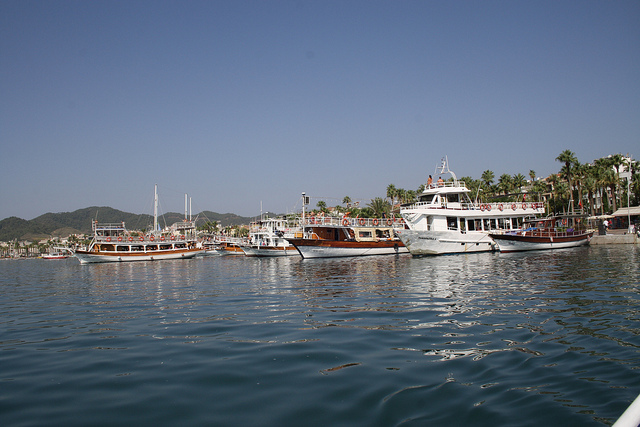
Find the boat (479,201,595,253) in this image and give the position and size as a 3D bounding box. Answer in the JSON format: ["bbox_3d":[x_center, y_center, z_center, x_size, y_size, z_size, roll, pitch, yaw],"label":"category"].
[{"bbox_3d":[23.013,1.576,45.227,18.682,4.954,5.331,5,-10,-29],"label":"boat"}]

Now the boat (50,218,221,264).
[{"bbox_3d":[-25.964,3.866,62.866,16.412,5.898,11.025,-2,-2,-27],"label":"boat"}]

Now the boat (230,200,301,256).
[{"bbox_3d":[-7.118,2.979,61.829,4.969,6.350,14.136,-6,-6,25],"label":"boat"}]

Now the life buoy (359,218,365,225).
[{"bbox_3d":[4.444,0.917,47.415,0.704,0.568,0.144,1,-5,-12],"label":"life buoy"}]

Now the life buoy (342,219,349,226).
[{"bbox_3d":[2.488,0.919,44.776,0.605,0.653,0.267,1,1,-12],"label":"life buoy"}]

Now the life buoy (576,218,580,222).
[{"bbox_3d":[42.564,1.146,73.133,0.253,0.916,1.018,10,-18,37],"label":"life buoy"}]

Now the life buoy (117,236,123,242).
[{"bbox_3d":[-26.211,3.393,57.779,0.668,0.547,0.157,2,-3,-27],"label":"life buoy"}]

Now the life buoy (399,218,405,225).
[{"bbox_3d":[8.935,0.931,48.500,0.748,0.737,0.282,5,-12,4],"label":"life buoy"}]

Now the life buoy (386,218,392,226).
[{"bbox_3d":[7.609,1.006,48.978,0.834,0.673,0.172,0,-1,2],"label":"life buoy"}]

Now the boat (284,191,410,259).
[{"bbox_3d":[4.233,1.749,47.847,17.764,5.720,3.699,2,-6,-35],"label":"boat"}]

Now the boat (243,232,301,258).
[{"bbox_3d":[-5.987,4.469,57.874,5.841,1.936,3.951,-1,-1,-11],"label":"boat"}]

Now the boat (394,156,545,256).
[{"bbox_3d":[12.452,0.281,40.672,12.651,7.221,2.546,-3,-2,-15],"label":"boat"}]

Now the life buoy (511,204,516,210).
[{"bbox_3d":[18.296,-0.583,41.862,0.482,0.394,0.138,0,1,-25],"label":"life buoy"}]
